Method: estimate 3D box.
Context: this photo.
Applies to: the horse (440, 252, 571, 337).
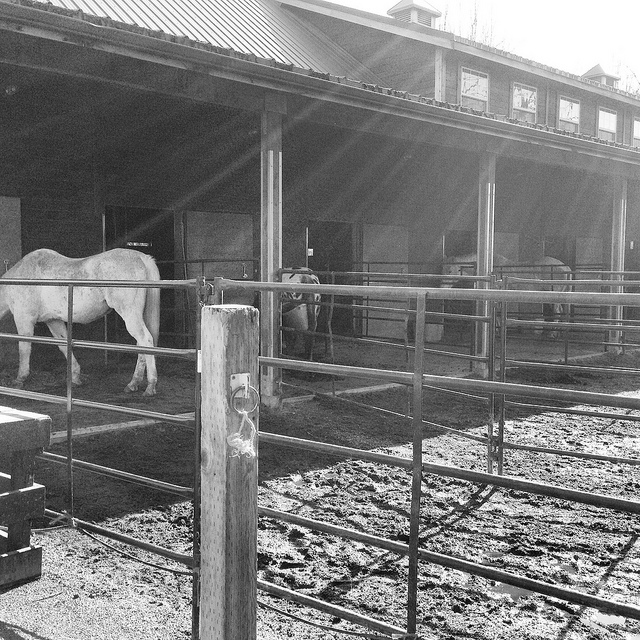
[{"bbox_3d":[2.705,-0.195,12.879,1.500,0.745,0.586,1,-11,-7],"label":"horse"}]
